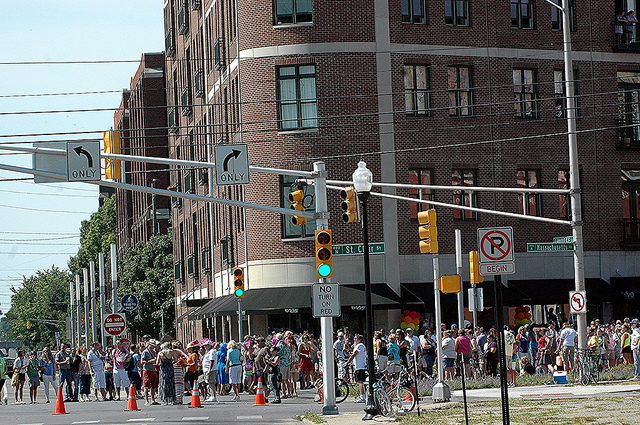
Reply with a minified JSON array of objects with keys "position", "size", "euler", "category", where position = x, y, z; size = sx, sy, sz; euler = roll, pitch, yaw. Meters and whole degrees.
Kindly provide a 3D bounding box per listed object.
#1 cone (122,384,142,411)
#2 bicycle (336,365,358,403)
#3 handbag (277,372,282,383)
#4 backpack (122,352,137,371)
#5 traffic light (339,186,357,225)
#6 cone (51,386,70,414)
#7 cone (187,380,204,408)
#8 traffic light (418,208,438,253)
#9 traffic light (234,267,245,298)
[{"position":[-8.479,8.336,61.966],"size":[0.876,1.123,0.863],"euler":[0,0,-11],"category":"cone"},{"position":[1.219,7.730,63.873],"size":[1.089,1.426,2.415],"euler":[-2,-1,17],"category":"bicycle"},{"position":[-1.786,7.614,63.948],"size":[0.166,0.389,0.575],"euler":[-3,-10,-3],"category":"handbag"},{"position":[-9.007,7.116,66.033],"size":[0.506,0.877,0.906],"euler":[1,-11,-28],"category":"backpack"},{"position":[1.231,-0.273,58.519],"size":[0.602,1.559,0.810],"euler":[-4,-9,3],"category":"traffic light"},{"position":[-11.479,8.362,61.855],"size":[0.753,1.271,1.040],"euler":[-2,-10,-11],"category":"cone"},{"position":[-5.517,8.188,62.329],"size":[0.614,1.178,0.733],"euler":[-3,-9,-6],"category":"cone"},{"position":[4.553,0.837,58.475],"size":[0.732,1.781,0.708],"euler":[-4,-9,3],"category":"traffic light"},{"position":[-3.917,3.482,68.108],"size":[0.419,1.383,1.078],"euler":[-3,-10,-7],"category":"traffic light"}]
